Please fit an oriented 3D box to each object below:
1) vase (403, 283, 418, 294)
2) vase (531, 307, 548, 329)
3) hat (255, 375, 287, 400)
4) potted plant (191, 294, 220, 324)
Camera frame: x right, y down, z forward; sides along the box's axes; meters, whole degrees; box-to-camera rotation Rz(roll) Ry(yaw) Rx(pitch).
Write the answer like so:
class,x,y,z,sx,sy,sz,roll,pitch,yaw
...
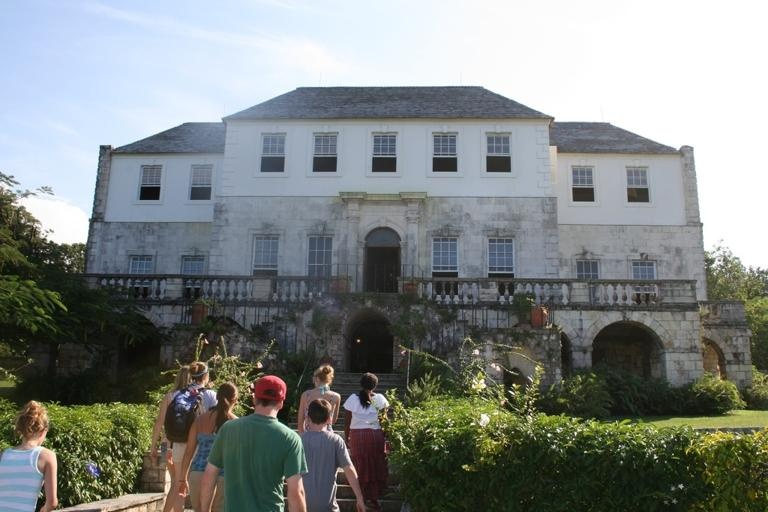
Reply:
class,x,y,z,sx,sy,sz,roll,pitch,yaw
vase,0.988,1.211,23.699,0.606,0.550,0.315,-3,-29,9
vase,4.963,1.953,20.582,0.485,0.729,0.733,-2,-13,13
hat,-1.448,1.698,8.214,0.376,0.308,0.347,2,-13,-7
potted plant,-5.775,1.755,20.614,0.770,0.827,0.910,13,-20,-42
